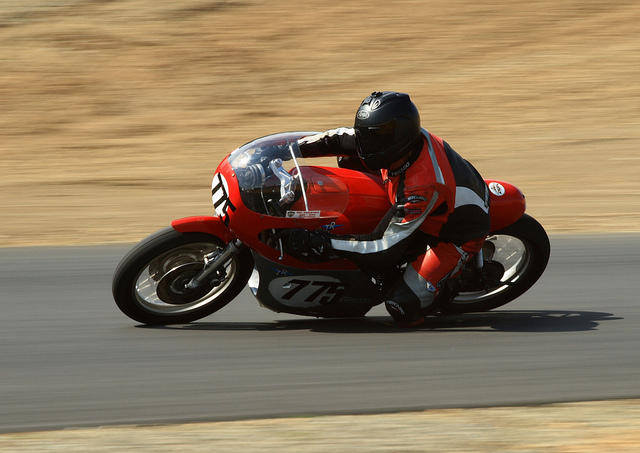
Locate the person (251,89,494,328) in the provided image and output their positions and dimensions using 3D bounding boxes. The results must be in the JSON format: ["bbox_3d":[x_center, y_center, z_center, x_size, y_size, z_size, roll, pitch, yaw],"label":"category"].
[{"bbox_3d":[0.740,-0.118,5.698,1.644,1.959,0.534,-5,6,-24],"label":"person"}]
